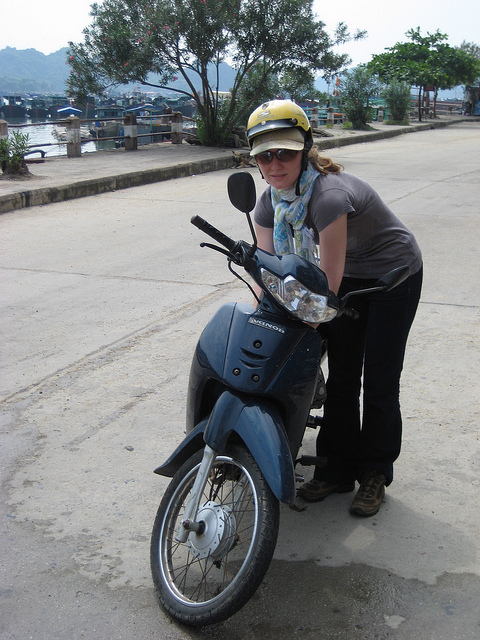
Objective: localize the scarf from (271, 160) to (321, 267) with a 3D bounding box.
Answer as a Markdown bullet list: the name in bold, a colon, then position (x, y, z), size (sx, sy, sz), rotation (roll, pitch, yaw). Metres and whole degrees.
- **scarf**: position (0.198, -0.376, 2.083), size (0.170, 0.382, 0.242), rotation (0, 16, 6)

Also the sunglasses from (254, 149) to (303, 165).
- **sunglasses**: position (0.131, -0.544, 1.930), size (0.158, 0.047, 0.074), rotation (0, 15, 3)

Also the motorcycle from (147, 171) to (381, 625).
- **motorcycle**: position (0.049, 0.217, 1.915), size (0.714, 1.369, 1.059), rotation (2, 16, 11)
